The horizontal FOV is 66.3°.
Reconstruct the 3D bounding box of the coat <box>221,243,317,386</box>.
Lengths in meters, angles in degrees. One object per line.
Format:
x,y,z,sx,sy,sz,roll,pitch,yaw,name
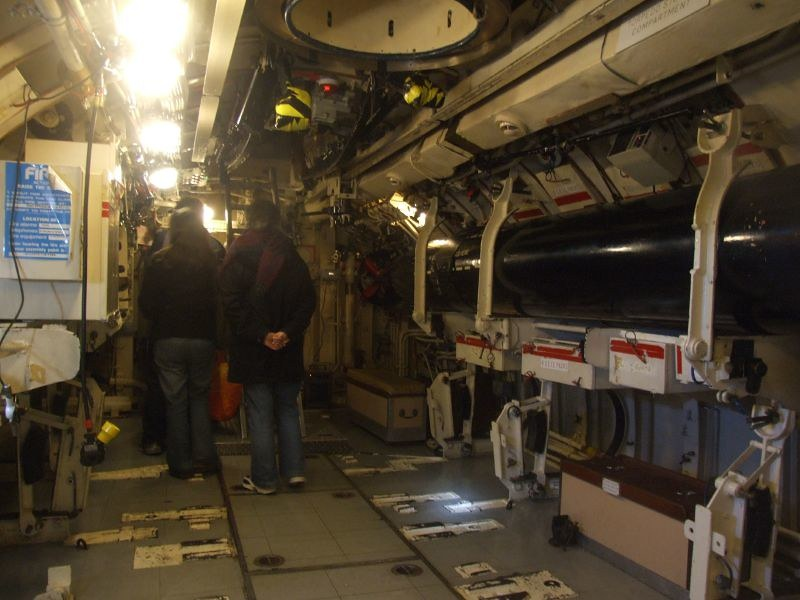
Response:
-1.162,0.096,5.415,0.805,1.295,0.412,1,6,-12,coat

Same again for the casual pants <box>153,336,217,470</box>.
-2.010,0.987,5.744,0.555,1.269,0.333,0,7,-22,casual pants

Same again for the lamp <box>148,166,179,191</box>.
-2.794,-1.444,7.183,0.309,0.219,0.710,0,6,-22,lamp

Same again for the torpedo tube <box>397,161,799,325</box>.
1.389,-0.268,4.234,0.609,0.580,2.446,-6,4,-39,torpedo tube

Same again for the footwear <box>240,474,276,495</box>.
-1.274,1.658,5.491,0.344,0.142,0.131,12,10,39,footwear

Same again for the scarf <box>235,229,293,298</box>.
-1.208,-0.315,5.397,0.458,0.569,0.222,10,-11,5,scarf
